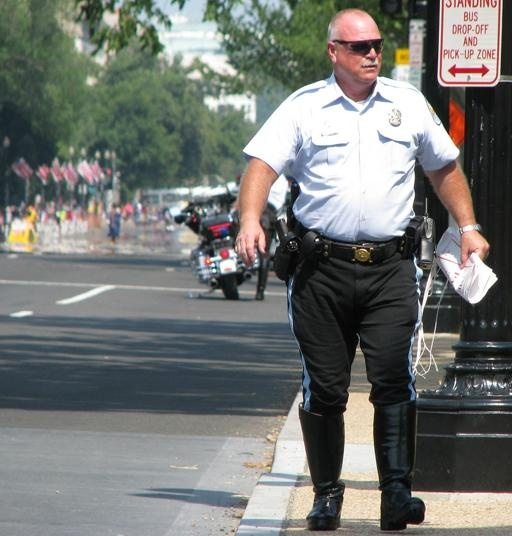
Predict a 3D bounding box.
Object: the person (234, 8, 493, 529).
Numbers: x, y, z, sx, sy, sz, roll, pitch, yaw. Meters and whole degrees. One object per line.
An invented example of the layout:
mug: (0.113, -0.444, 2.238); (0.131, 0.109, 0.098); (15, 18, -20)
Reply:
person: (0.459, 0.000, 6.386); (1.087, 2.317, 0.590); (-2, 3, -1)

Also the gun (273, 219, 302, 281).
gun: (0.127, -0.072, 6.457); (0.116, 0.086, 0.314); (-9, -38, -11)

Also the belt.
belt: (0.395, -0.090, 6.344); (0.480, 0.157, 0.088); (-2, 3, 3)

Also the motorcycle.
motorcycle: (-0.569, -0.350, 19.793); (0.901, 1.057, 1.844); (-23, 8, 2)

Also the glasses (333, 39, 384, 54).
glasses: (0.439, -0.980, 6.389); (0.218, 0.081, 0.117); (-2, 4, 3)
